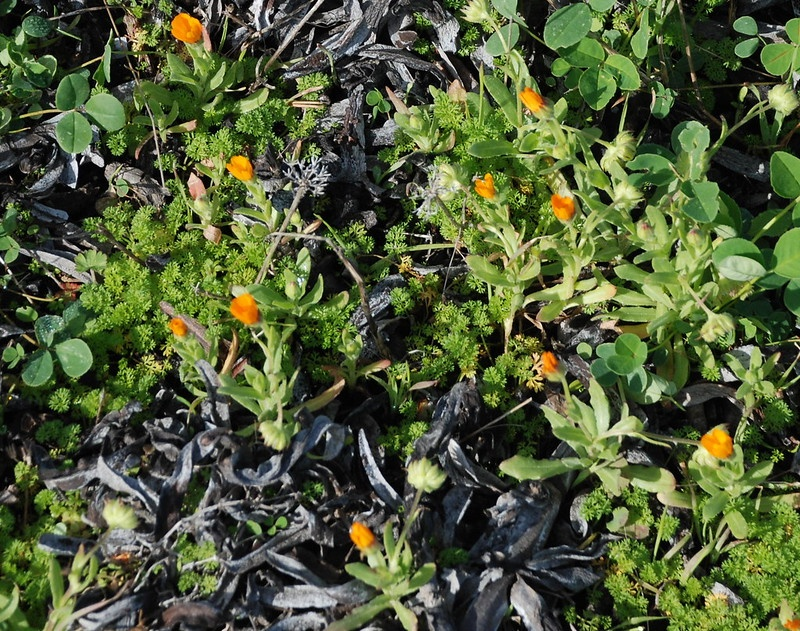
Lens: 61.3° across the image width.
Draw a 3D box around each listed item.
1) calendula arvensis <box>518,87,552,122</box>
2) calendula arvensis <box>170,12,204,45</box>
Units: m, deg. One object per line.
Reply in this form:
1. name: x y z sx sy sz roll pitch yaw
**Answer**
1. calendula arvensis: 0.496 -0.784 2.495 0.155 0.062 0.089 47 63 -28
2. calendula arvensis: -0.888 -1.193 2.835 0.107 0.124 0.082 22 48 -4
